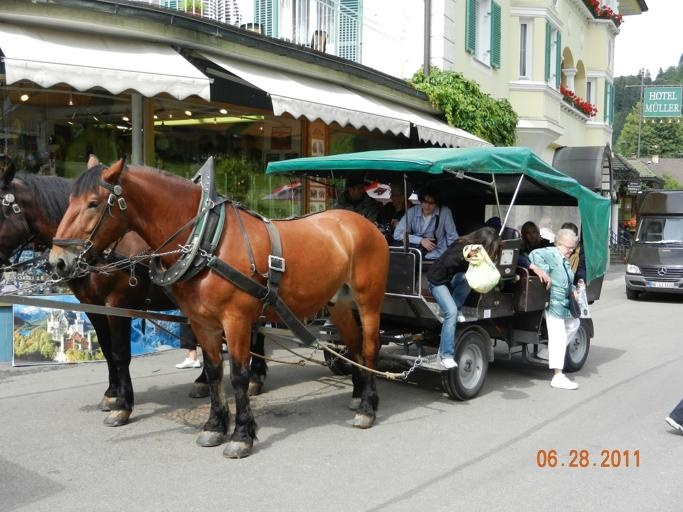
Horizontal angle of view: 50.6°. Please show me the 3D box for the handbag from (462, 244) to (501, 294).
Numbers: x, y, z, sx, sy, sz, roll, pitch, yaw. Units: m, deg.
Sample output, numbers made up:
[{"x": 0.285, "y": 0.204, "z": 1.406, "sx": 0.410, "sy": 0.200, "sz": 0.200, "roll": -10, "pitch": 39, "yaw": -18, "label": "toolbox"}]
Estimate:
[{"x": 1.617, "y": 0.147, "z": 8.365, "sx": 0.410, "sy": 0.538, "sz": 0.195, "roll": -27, "pitch": -7, "yaw": -13, "label": "handbag"}]

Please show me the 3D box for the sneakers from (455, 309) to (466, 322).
[{"x": 1.482, "y": 0.711, "z": 8.609, "sx": 0.098, "sy": 0.130, "sz": 0.336, "roll": 2, "pitch": 9, "yaw": 10, "label": "sneakers"}]

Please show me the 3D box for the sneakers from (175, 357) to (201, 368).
[{"x": -2.106, "y": 1.456, "z": 9.945, "sx": 0.390, "sy": 0.168, "sz": 0.132, "roll": 3, "pitch": -2, "yaw": -10, "label": "sneakers"}]

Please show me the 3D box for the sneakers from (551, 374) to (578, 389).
[{"x": 2.895, "y": 1.588, "z": 9.203, "sx": 0.396, "sy": 0.268, "sz": 0.144, "roll": -1, "pitch": 3, "yaw": 9, "label": "sneakers"}]
